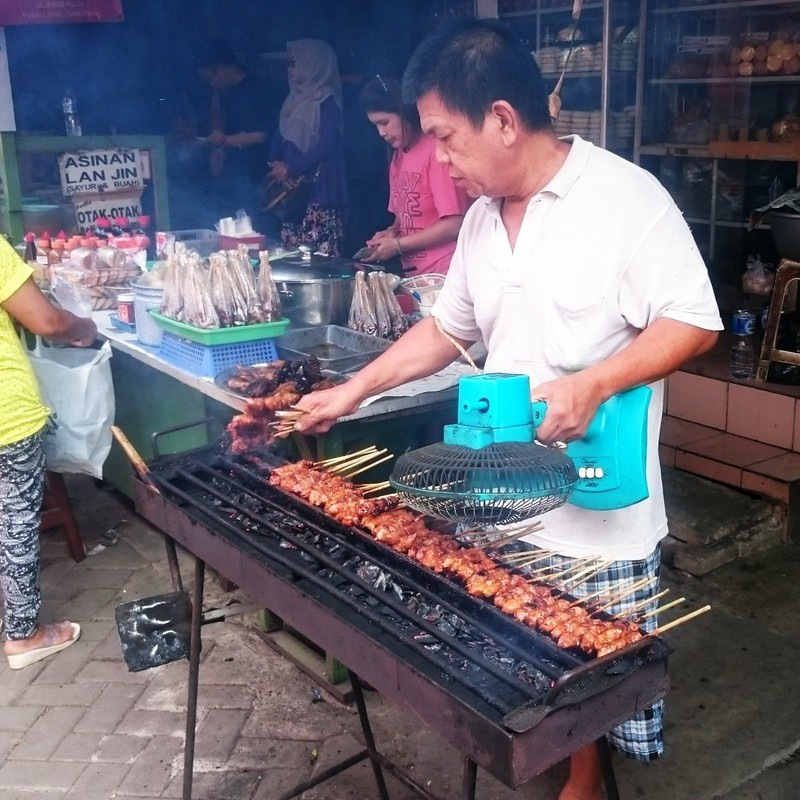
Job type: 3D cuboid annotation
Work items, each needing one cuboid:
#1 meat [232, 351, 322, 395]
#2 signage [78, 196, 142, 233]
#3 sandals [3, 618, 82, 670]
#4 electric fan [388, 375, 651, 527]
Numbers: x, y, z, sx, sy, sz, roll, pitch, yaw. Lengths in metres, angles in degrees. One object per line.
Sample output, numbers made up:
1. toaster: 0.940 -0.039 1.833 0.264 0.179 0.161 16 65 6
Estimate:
1. meat: -0.498 -0.084 3.028 0.241 0.070 0.236 13 22 38
2. signage: -2.324 -1.459 6.014 0.520 0.275 0.025 -8 -15 -42
3. sandals: -1.790 1.229 3.866 0.366 0.125 0.145 -14 22 -42
4. electric fan: 0.261 0.121 1.683 0.430 0.288 0.604 1 1 44
